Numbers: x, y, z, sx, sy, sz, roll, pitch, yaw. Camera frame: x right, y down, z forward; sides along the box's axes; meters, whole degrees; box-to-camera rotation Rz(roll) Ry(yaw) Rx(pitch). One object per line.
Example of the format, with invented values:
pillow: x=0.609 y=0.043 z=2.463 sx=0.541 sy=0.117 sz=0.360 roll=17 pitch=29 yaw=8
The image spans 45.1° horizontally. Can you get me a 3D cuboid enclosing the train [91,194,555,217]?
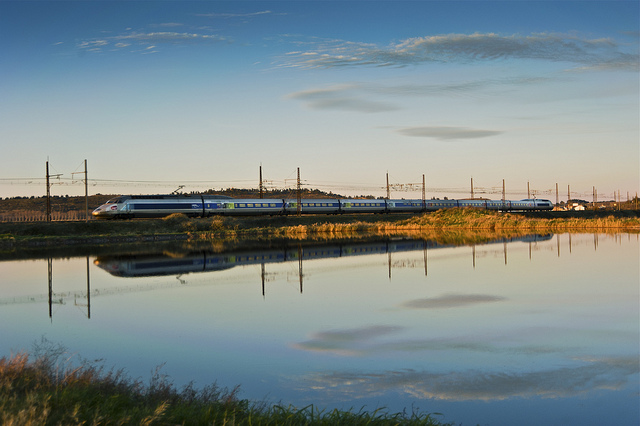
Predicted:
train: x=-1.260 y=-0.684 z=84.609 sx=47.591 sy=2.337 sz=3.042 roll=1 pitch=0 yaw=-12
